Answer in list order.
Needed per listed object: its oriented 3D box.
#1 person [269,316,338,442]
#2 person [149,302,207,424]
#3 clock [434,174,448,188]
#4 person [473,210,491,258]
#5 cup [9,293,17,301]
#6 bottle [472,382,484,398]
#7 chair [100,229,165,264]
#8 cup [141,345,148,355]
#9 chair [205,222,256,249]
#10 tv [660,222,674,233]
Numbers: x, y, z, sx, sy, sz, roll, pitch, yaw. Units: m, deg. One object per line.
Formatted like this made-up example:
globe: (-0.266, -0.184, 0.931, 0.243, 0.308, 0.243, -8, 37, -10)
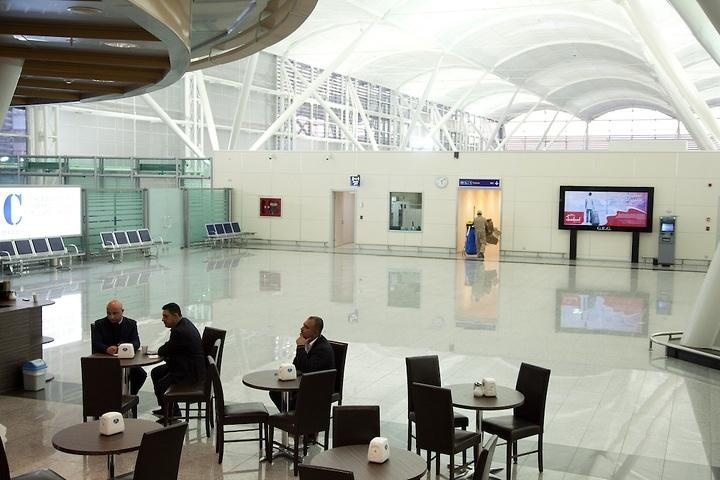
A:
person: (-0.709, 1.947, 7.092, 0.775, 1.726, 1.216, -4, 6, -39)
person: (-2.796, 1.799, 7.442, 0.989, 1.709, 0.634, 3, 6, 35)
clock: (4.203, -3.004, 25.571, 0.651, 0.616, 0.050, 1, 5, 14)
person: (5.799, -0.284, 23.863, 0.660, 2.228, 1.150, 4, 6, 38)
cup: (-6.488, 1.068, 9.332, 0.136, 0.122, 0.133, 0, -2, 0)
bottle: (1.519, 1.923, 6.348, 0.109, 0.063, 0.183, 0, 7, 7)
chair: (-10.315, 0.146, 22.208, 1.738, 1.237, 2.672, 1, 4, 8)
cup: (-3.307, 1.698, 7.656, 0.101, 0.111, 0.120, -2, -8, 11)
chair: (-7.304, -0.394, 27.348, 1.800, 1.241, 3.354, 1, 4, 16)
tv: (13.726, -0.585, 22.177, 0.648, 0.411, 0.332, 2, 2, 28)
